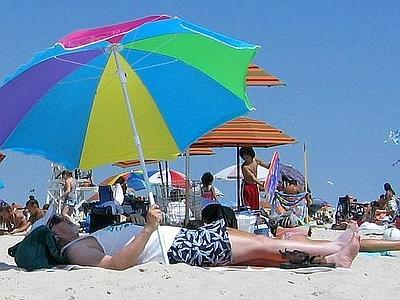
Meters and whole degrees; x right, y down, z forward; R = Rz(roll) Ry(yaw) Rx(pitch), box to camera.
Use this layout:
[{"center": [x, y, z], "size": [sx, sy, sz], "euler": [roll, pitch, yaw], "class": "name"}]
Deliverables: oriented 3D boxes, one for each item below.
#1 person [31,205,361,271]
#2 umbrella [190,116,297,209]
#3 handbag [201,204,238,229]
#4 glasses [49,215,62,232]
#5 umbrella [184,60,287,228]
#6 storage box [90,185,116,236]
[{"center": [-0.051, 0.916, 4.686], "size": [3.221, 0.711, 0.496], "euler": [0, 3, 0], "class": "person"}, {"center": [0.909, 0.155, 7.967], "size": [1.505, 1.417, 1.603], "euler": [-5, -5, 22], "class": "umbrella"}, {"center": [0.270, 0.883, 6.067], "size": [0.363, 0.341, 0.344], "euler": [-5, 1, 34], "class": "handbag"}, {"center": [-1.604, 0.803, 4.890], "size": [0.107, 0.148, 0.124], "euler": [6, 29, 2], "class": "glasses"}, {"center": [0.752, -0.155, 8.469], "size": [2.296, 3.087, 2.154], "euler": [-1, -3, -4], "class": "umbrella"}, {"center": [-1.548, 0.924, 7.160], "size": [0.414, 0.669, 0.414], "euler": [-3, 4, -16], "class": "storage box"}]
